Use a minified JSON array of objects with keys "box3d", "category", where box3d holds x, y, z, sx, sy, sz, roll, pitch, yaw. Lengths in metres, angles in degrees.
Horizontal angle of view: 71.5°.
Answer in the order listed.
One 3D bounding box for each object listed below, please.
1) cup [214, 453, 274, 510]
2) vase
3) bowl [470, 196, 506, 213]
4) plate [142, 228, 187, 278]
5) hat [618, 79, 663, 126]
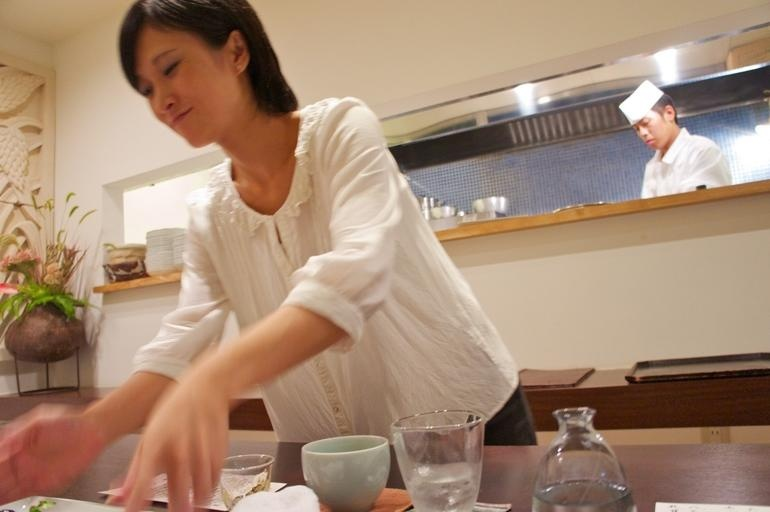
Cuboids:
[{"box3d":[-0.242,0.382,0.969,0.118,0.087,0.114,1,-4,0],"category":"cup"},{"box3d":[-2.238,0.526,3.539,0.423,0.287,0.410,6,-9,-30],"category":"vase"},{"box3d":[0.601,-0.287,3.053,0.126,0.073,0.125,-2,-4,0],"category":"bowl"},{"box3d":[-1.313,-0.011,3.176,0.202,0.255,0.092,-9,31,-7],"category":"plate"},{"box3d":[1.313,-0.787,2.755,0.206,0.154,0.062,-46,-10,31],"category":"hat"}]
